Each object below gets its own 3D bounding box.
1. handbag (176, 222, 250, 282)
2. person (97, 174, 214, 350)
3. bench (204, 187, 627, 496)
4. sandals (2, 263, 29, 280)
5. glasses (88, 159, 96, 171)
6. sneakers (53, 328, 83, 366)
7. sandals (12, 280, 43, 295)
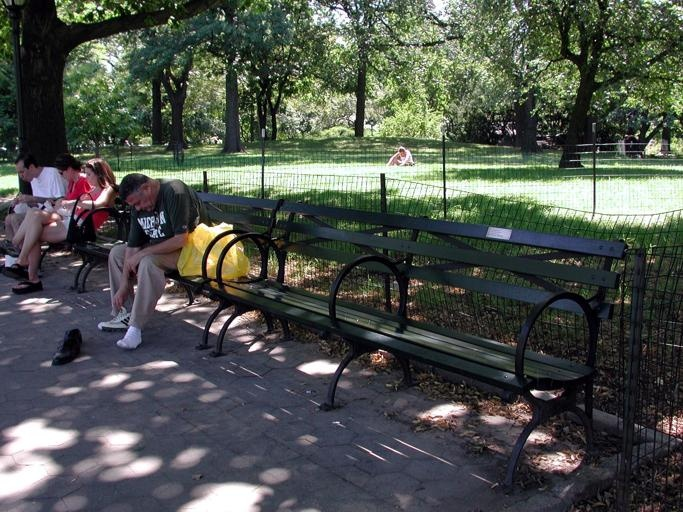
[{"bbox_3d":[-1.332,-0.051,5.822,0.510,0.485,0.685,1,-3,25],"label":"handbag"},{"bbox_3d":[-1.956,-0.024,5.939,1.045,1.663,0.823,-9,15,-37],"label":"person"},{"bbox_3d":[0.660,0.278,5.478,3.088,1.496,4.073,-11,17,-41],"label":"bench"},{"bbox_3d":[-4.328,0.203,7.564,0.312,0.115,0.105,26,-38,-29],"label":"sandals"},{"bbox_3d":[-3.257,-1.185,7.429,0.125,0.159,0.164,5,11,-19],"label":"glasses"},{"bbox_3d":[-2.601,0.859,5.391,0.195,0.209,0.402,-1,13,-5],"label":"sneakers"},{"bbox_3d":[-4.041,0.399,7.417,0.151,0.161,0.419,0,-4,44],"label":"sandals"}]
